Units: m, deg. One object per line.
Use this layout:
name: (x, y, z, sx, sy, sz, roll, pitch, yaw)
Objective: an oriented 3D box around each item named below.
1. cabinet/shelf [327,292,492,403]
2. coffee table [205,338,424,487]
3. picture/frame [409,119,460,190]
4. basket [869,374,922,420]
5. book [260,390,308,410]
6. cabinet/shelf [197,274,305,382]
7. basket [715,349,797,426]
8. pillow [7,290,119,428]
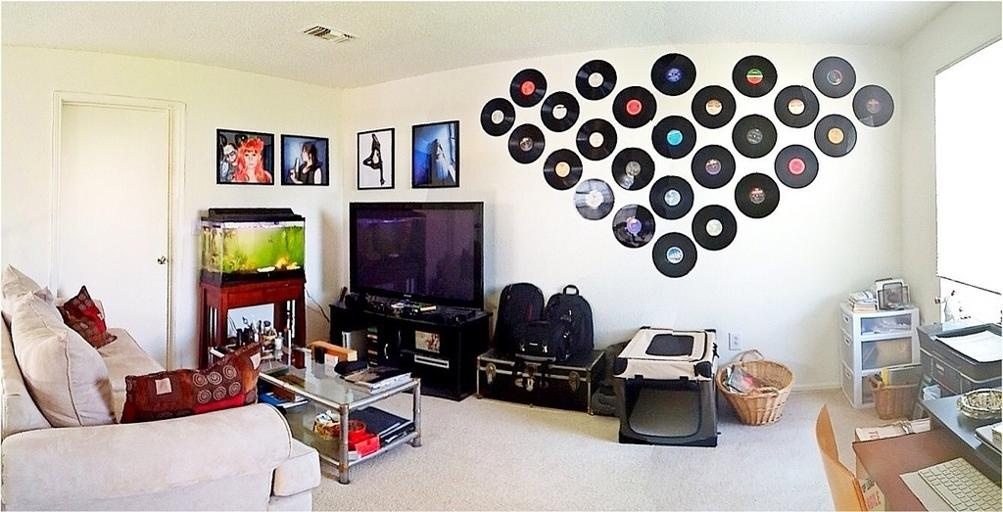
cabinet/shelf: (-0.793, 1.061, 6.547, 0.646, 0.718, 1.724, -4, 3, -42)
coffee table: (-1.404, 1.394, 5.248, 2.176, 0.515, 0.953, 10, 13, 36)
picture/frame: (-0.689, -1.143, 6.603, 0.946, 0.862, 0.095, 3, 5, 26)
basket: (3.310, 1.179, 5.112, 0.454, 0.295, 0.330, 0, 1, 12)
book: (-2.007, 1.350, 5.538, 0.302, 0.061, 0.310, 3, 1, 44)
cabinet/shelf: (-2.493, 0.701, 5.961, 1.178, 0.940, 0.628, -2, 5, -38)
basket: (2.274, 1.213, 5.509, 0.697, 0.392, 0.630, -4, 9, 6)
pillow: (-3.259, 0.792, 4.458, 0.929, 0.567, 0.353, 17, 13, 33)
